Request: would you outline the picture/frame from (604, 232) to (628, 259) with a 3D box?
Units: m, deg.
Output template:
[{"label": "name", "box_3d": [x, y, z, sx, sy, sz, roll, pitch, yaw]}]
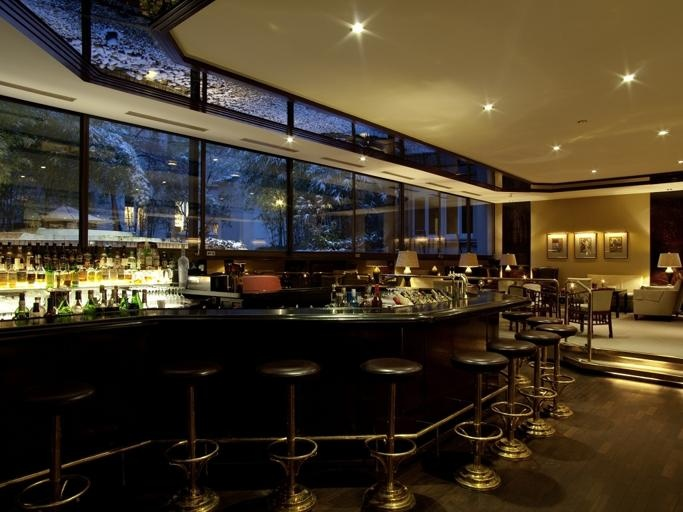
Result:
[{"label": "picture/frame", "box_3d": [7.292, -0.302, 14.168, 0.616, 0.734, 0.065, 11, 15, 43]}]

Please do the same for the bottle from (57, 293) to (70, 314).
[{"label": "bottle", "box_3d": [-2.428, 0.399, 4.657, 0.085, 0.179, 0.112, 9, 14, 35]}]

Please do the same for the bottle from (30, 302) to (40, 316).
[{"label": "bottle", "box_3d": [-2.597, 0.436, 4.537, 0.079, 0.133, 0.138, -5, 12, -28]}]

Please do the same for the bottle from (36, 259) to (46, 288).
[{"label": "bottle", "box_3d": [-3.389, 0.167, 6.012, 0.101, 0.369, 0.294, -5, 12, -28]}]

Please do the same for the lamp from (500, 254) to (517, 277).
[{"label": "lamp", "box_3d": [4.613, 0.200, 14.856, 0.384, 0.645, 1.108, 4, 11, 17]}]

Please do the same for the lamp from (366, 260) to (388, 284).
[{"label": "lamp", "box_3d": [0.806, 0.307, 11.549, 0.489, 0.524, 0.480, 3, 2, 28]}]

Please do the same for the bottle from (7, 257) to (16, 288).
[{"label": "bottle", "box_3d": [-3.643, 0.186, 5.912, 0.078, 0.248, 0.399, -6, 12, -31]}]

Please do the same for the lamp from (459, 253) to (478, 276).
[{"label": "lamp", "box_3d": [3.072, 0.177, 12.975, 0.694, 0.649, 0.638, -1, -2, 4]}]

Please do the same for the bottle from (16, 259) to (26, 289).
[{"label": "bottle", "box_3d": [-3.562, 0.178, 5.937, 0.095, 0.330, 0.323, -6, 13, -30]}]

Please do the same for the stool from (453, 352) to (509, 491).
[{"label": "stool", "box_3d": [1.245, 1.348, 4.845, 0.470, 1.072, 0.973, 4, 11, 16]}]
